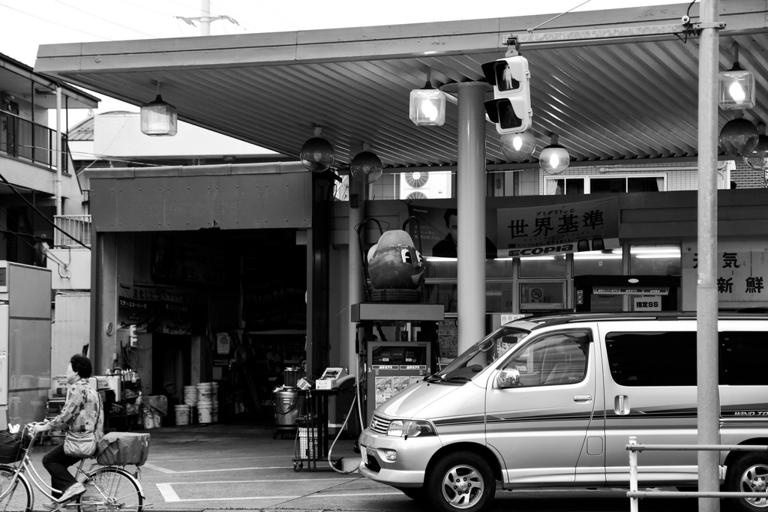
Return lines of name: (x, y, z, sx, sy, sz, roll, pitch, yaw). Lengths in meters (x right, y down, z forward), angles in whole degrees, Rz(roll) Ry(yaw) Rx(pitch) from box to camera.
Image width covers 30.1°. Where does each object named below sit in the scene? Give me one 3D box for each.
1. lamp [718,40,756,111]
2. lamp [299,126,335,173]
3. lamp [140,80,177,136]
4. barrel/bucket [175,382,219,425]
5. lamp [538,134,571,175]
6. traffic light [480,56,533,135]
lamp: (6.518, -3.365, 26.244, 0.732, 1.197, 0.735, -2, 7, 5)
lamp: (-1.325, -2.391, 30.293, 0.689, 1.031, 0.718, 4, 2, 27)
lamp: (-4.519, -2.999, 28.780, 0.782, 1.160, 0.772, 6, -12, -36)
barrel/bucket: (-4.765, 3.789, 37.101, 0.617, 1.110, 1.441, -4, -7, 38)
lamp: (3.558, -2.185, 29.513, 0.614, 0.882, 0.626, 0, -6, 11)
traffic light: (2.101, -2.788, 24.082, 0.798, 1.320, 0.459, -1, -6, 9)
